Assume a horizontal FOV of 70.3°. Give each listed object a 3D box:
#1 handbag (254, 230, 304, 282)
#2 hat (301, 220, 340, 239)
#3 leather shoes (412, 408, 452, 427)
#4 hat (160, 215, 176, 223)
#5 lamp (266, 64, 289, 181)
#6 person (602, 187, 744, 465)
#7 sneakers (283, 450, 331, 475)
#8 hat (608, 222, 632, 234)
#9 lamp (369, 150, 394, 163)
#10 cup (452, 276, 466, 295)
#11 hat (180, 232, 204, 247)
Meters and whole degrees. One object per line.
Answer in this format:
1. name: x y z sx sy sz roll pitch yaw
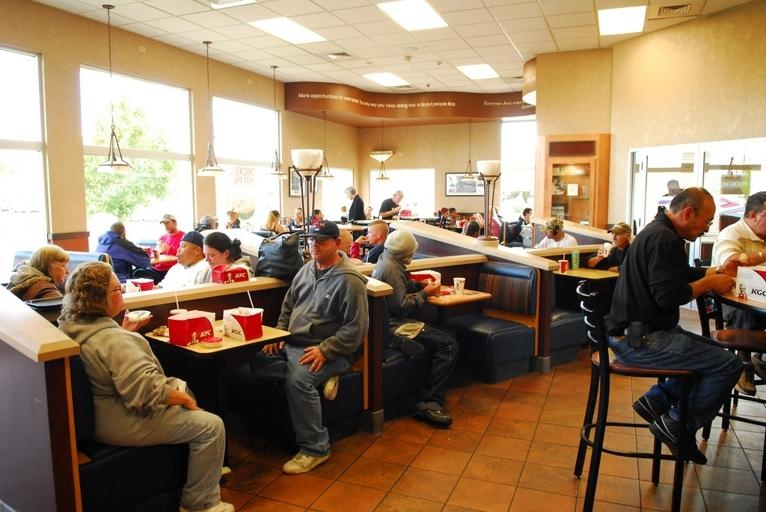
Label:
1. handbag: -0.937 -0.002 4.915 0.502 0.463 0.263 -4 -3 36
2. hat: -0.521 -0.225 4.443 0.210 0.097 0.154 9 8 26
3. leather shoes: 0.443 1.425 4.865 0.287 0.111 0.143 3 -14 40
4. hat: -3.235 -0.563 8.251 0.162 0.106 0.211 -1 -2 6
5. lamp: -2.424 -3.014 12.351 0.608 2.497 0.604 0 8 9
6. person: 2.158 0.499 3.874 0.841 1.920 0.758 -10 18 -32
7. sneakers: -0.586 1.598 4.222 0.354 0.128 0.136 3 -3 -39
8. hat: 2.847 -0.326 6.473 0.278 0.118 0.177 1 -1 -24
9. lamp: -0.087 -3.037 16.573 0.770 0.378 0.493 2 15 10
10. cup: 0.741 0.297 5.412 0.153 0.153 0.148 0 -2 0
11. hat: -1.754 -0.153 5.007 0.137 0.099 0.178 8 7 -45
